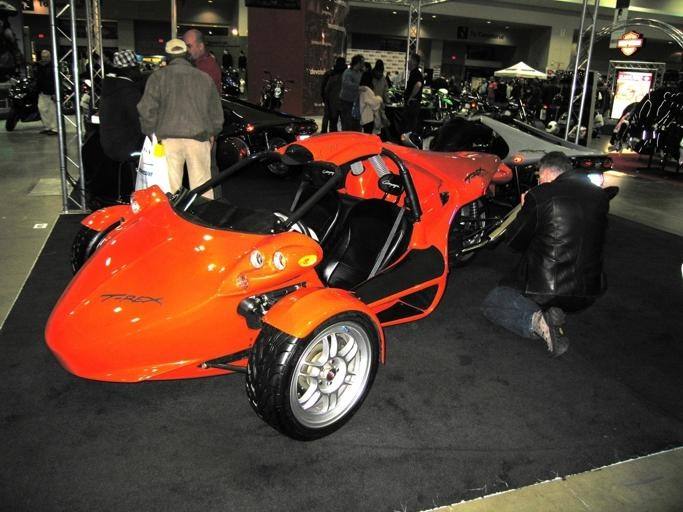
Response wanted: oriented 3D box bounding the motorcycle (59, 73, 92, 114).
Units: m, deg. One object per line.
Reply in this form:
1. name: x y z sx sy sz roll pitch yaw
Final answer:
1. motorcycle: -5.419 -3.163 9.493 0.531 0.607 0.985 17 17 -20

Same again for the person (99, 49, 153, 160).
1. person: -2.456 -1.670 5.321 0.510 1.148 0.464 10 27 -8

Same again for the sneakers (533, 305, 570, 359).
1. sneakers: 1.512 0.523 3.433 0.221 0.443 0.187 -15 17 35

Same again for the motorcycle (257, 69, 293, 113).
1. motorcycle: -2.050 -5.148 14.903 0.866 0.972 1.738 12 19 -21

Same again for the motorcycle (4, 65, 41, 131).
1. motorcycle: -8.816 -4.229 13.024 0.839 1.531 0.873 -6 23 -30

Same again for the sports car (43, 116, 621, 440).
1. sports car: 0.312 0.098 3.398 3.711 1.118 2.064 -12 29 -34

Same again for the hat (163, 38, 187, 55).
1. hat: -1.677 -2.124 4.825 0.193 0.177 0.299 0 19 -16
